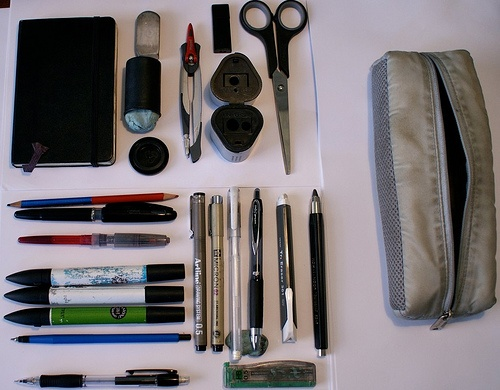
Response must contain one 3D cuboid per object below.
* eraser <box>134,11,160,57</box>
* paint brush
[{"bbox_3d":[-0.261,-0.411,1.618,0.062,0.127,0.024,2,-11,-12],"label":"eraser"},{"bbox_3d":[-0.392,0.012,1.523,0.321,0.027,0.024,1,-11,-4],"label":"paint brush"}]
